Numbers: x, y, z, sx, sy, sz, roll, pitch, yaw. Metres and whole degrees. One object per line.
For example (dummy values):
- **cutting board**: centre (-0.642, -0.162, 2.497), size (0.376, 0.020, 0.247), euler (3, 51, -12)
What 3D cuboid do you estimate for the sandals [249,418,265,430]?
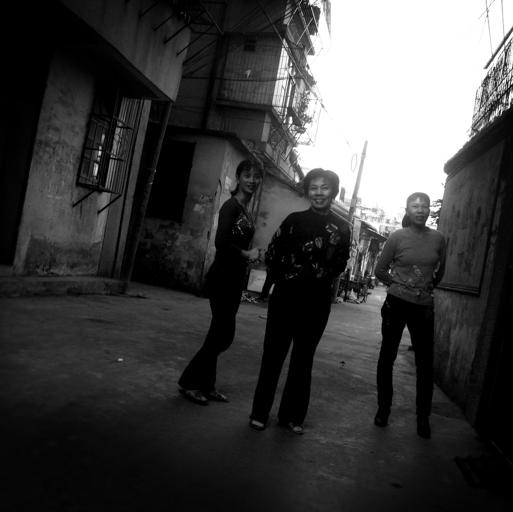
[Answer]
- **sandals**: centre (0.002, 1.247, 3.032), size (0.115, 0.066, 0.111), euler (9, -3, 6)

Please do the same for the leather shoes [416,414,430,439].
- **leather shoes**: centre (1.440, 1.486, 3.558), size (0.124, 0.118, 0.178), euler (8, -3, 18)

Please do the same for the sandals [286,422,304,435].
- **sandals**: centre (0.296, 1.321, 3.146), size (0.125, 0.062, 0.120), euler (9, -3, 8)

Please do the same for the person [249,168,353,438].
- **person**: centre (0.351, 0.324, 3.191), size (0.647, 1.615, 0.303), euler (7, -3, -1)

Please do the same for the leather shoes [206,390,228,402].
- **leather shoes**: centre (-0.338, 1.220, 3.572), size (0.173, 0.092, 0.073), euler (6, 6, 2)

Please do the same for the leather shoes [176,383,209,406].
- **leather shoes**: centre (-0.499, 1.142, 3.404), size (0.304, 0.111, 0.131), euler (25, 4, 14)
